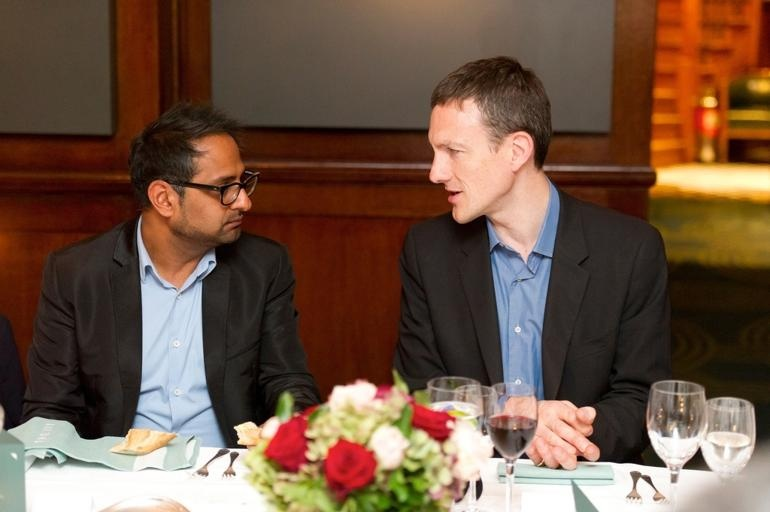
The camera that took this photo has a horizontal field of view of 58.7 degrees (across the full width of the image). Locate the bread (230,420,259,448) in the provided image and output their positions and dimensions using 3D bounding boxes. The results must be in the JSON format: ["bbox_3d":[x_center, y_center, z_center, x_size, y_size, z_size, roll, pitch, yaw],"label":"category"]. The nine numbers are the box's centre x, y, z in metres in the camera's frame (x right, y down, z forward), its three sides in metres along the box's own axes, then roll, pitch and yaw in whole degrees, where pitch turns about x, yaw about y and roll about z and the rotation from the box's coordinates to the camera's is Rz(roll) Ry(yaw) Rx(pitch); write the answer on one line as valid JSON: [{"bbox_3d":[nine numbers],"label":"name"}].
[{"bbox_3d":[-0.374,0.506,1.883,0.084,0.029,0.093,-1,10,-2],"label":"bread"}]

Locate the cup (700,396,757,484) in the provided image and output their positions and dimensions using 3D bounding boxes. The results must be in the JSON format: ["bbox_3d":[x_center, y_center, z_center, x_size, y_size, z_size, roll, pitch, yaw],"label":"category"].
[{"bbox_3d":[0.804,0.437,1.616,0.115,0.186,0.154,-3,-4,28],"label":"cup"}]

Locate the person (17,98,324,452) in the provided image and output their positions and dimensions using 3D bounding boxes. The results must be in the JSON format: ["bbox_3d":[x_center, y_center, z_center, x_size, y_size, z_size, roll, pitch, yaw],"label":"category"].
[{"bbox_3d":[-0.728,0.067,2.370,0.964,1.197,0.286,-1,-3,-9],"label":"person"}]

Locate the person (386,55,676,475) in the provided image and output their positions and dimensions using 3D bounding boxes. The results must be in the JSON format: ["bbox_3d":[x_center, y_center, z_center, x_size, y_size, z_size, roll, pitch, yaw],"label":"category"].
[{"bbox_3d":[0.452,-0.009,2.323,0.895,1.328,0.409,-3,-3,26],"label":"person"}]

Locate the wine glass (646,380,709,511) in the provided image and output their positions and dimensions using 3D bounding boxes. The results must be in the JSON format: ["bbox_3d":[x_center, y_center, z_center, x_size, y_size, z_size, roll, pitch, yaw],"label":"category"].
[{"bbox_3d":[0.702,0.454,1.656,0.133,0.302,0.222,-2,-3,21],"label":"wine glass"}]

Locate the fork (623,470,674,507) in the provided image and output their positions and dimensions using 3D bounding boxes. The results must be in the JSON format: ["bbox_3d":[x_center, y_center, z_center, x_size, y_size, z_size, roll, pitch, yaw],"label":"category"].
[{"bbox_3d":[0.651,0.583,1.704,0.074,0.018,0.142,-7,11,3],"label":"fork"}]

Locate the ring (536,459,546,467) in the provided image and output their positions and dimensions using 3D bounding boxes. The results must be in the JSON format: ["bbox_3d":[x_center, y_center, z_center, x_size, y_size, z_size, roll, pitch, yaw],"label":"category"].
[{"bbox_3d":[0.405,0.543,1.790,0.016,0.016,0.014,6,-6,8],"label":"ring"}]

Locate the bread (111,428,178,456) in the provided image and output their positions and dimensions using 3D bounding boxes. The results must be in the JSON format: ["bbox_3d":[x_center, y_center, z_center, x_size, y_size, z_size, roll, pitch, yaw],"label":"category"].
[{"bbox_3d":[-0.651,0.504,1.856,0.146,0.054,0.094,-2,-4,10],"label":"bread"}]
